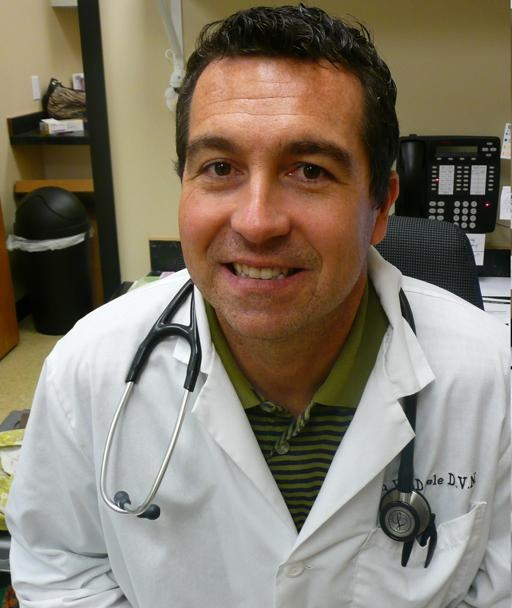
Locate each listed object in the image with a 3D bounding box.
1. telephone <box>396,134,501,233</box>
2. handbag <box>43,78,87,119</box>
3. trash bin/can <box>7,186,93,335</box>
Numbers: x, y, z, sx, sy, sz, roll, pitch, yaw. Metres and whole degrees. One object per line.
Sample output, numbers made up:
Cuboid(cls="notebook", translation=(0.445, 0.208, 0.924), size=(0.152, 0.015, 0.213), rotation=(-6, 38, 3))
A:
Cuboid(cls="telephone", translation=(0.733, -0.464, 2.031), size=(0.428, 0.444, 0.175), rotation=(2, 9, 4))
Cuboid(cls="handbag", translation=(-1.379, -1.583, 4.017), size=(0.235, 0.235, 0.196), rotation=(16, 13, 17))
Cuboid(cls="trash bin/can", translation=(-1.349, -0.322, 3.608), size=(0.466, 0.895, 0.503), rotation=(7, 29, 10))
